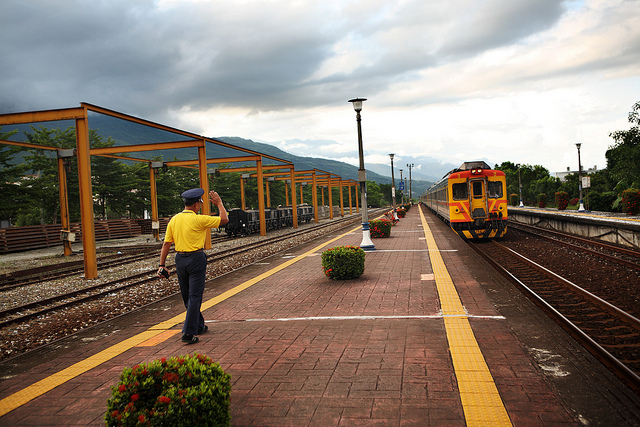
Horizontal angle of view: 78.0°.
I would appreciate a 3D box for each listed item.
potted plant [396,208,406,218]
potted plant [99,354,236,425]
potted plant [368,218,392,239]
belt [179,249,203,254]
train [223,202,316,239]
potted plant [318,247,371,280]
[{"bbox_3d":[8.940,-0.069,42.979,1.152,0.774,1.132,0,3,4],"label":"potted plant"},{"bbox_3d":[-1.480,1.807,4.030,0.904,0.472,0.933,0,-8,3],"label":"potted plant"},{"bbox_3d":[3.448,0.804,22.036,0.982,0.691,1.202,0,6,13],"label":"potted plant"},{"bbox_3d":[-2.157,0.648,6.634,0.344,0.044,0.090,-3,2,-13],"label":"belt"},{"bbox_3d":[-4.422,0.250,39.287,1.999,2.314,14.198,-4,1,21],"label":"train"},{"bbox_3d":[0.782,1.340,10.928,0.902,0.664,1.173,1,1,42],"label":"potted plant"}]
